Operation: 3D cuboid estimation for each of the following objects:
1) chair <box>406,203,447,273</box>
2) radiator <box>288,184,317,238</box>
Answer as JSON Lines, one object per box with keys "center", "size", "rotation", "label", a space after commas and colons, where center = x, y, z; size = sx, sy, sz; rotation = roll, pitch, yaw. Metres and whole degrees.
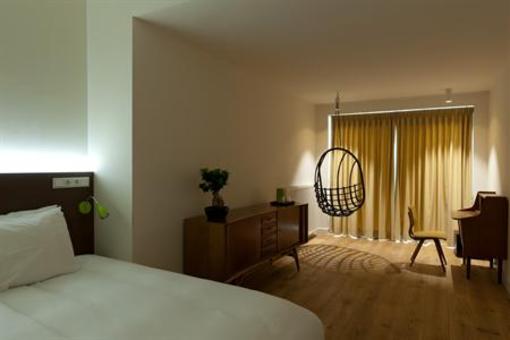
{"center": [2.796, 1.043, 5.577], "size": [0.620, 0.889, 1.200], "rotation": [4, 7, 29], "label": "chair"}
{"center": [0.808, 0.713, 5.979], "size": [0.053, 1.098, 1.032], "rotation": [-1, 3, 34], "label": "radiator"}
